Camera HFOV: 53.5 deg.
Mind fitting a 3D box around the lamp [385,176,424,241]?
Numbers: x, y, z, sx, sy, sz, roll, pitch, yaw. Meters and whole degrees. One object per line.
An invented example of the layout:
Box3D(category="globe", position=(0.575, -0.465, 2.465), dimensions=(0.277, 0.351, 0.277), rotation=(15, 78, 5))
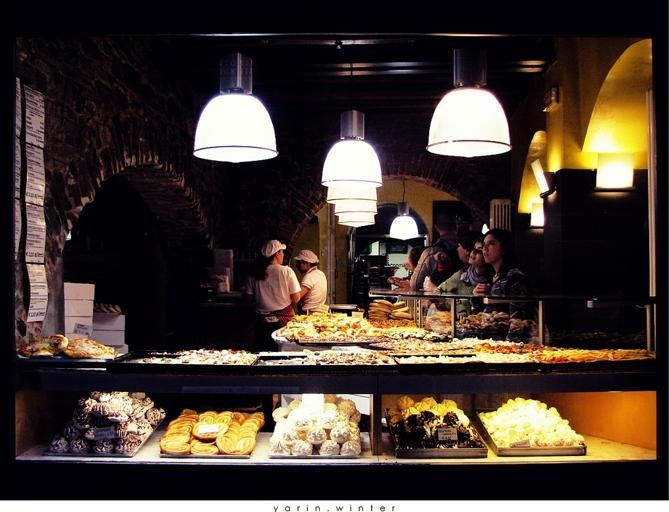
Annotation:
Box3D(category="lamp", position=(0.933, -0.648, 8.989), dimensions=(0.398, 0.845, 0.399), rotation=(-2, -11, 11))

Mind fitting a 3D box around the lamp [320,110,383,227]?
Box3D(category="lamp", position=(0.144, -0.647, 4.936), dimensions=(0.455, 0.838, 0.468), rotation=(-7, -9, 36))

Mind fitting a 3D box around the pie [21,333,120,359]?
Box3D(category="pie", position=(-1.660, 0.566, 4.191), dimensions=(0.558, 0.136, 0.288), rotation=(0, 0, -11))

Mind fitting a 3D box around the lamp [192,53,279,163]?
Box3D(category="lamp", position=(-0.580, -0.943, 4.311), dimensions=(0.630, 0.700, 0.653), rotation=(1, 6, 13))

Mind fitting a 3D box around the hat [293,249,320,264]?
Box3D(category="hat", position=(-0.351, 0.005, 7.955), dimensions=(0.240, 0.118, 0.176), rotation=(6, -3, 6))

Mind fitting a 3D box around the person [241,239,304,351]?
Box3D(category="person", position=(-0.687, 0.427, 7.503), dimensions=(0.638, 0.845, 0.276), rotation=(0, 0, -8))

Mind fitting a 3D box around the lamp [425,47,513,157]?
Box3D(category="lamp", position=(0.784, -0.989, 4.348), dimensions=(0.652, 0.712, 0.662), rotation=(-1, 1, -15))

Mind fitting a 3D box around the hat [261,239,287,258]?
Box3D(category="hat", position=(-0.691, -0.091, 7.535), dimensions=(0.232, 0.129, 0.156), rotation=(-27, 31, -19))
